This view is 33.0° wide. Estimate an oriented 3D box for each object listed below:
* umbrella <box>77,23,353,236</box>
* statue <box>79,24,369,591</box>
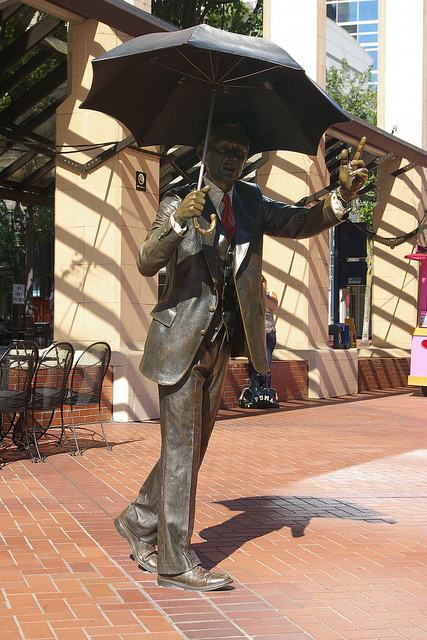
[{"bbox_3d":[-0.018,-0.861,3.846,1.359,1.048,1.421,-1,16,-24],"label":"umbrella"},{"bbox_3d":[-0.042,-0.024,3.206,1.162,2.460,0.993,4,3,-12],"label":"statue"}]
